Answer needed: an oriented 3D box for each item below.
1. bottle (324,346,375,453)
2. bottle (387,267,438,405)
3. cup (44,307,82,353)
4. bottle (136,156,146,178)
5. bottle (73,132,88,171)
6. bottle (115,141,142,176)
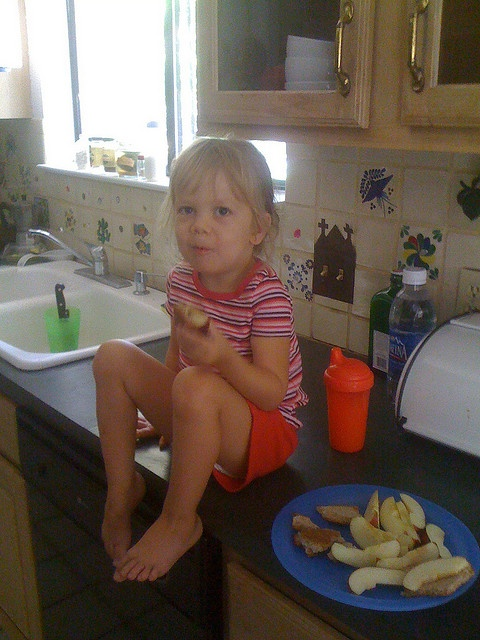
[{"bbox_3d":[0.183,0.120,0.799,0.074,0.163,0.151,3,10,15],"label":"bottle"},{"bbox_3d":[0.318,0.033,0.888,0.090,0.261,0.229,4,11,23],"label":"bottle"},{"bbox_3d":[-0.570,0.035,1.525,0.106,0.142,0.077,-6,11,-30],"label":"cup"},{"bbox_3d":[-0.372,-0.574,1.772,0.015,0.090,0.070,-2,5,-15],"label":"bottle"},{"bbox_3d":[-0.683,-0.718,2.045,0.058,0.164,0.184,-3,11,-19],"label":"bottle"},{"bbox_3d":[-0.426,-0.636,1.842,0.120,0.168,0.039,-13,-10,32],"label":"bottle"}]
